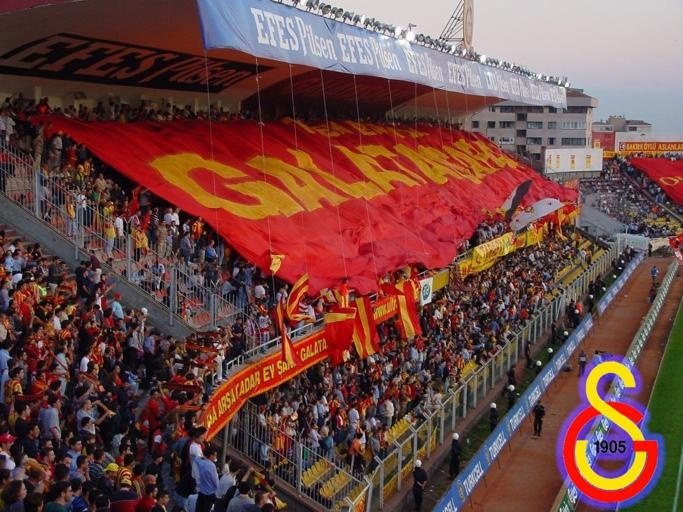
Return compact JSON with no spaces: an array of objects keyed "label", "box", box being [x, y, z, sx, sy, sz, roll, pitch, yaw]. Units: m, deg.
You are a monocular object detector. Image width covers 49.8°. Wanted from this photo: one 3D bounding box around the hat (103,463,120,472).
[{"label":"hat","box":[-4.108,3.815,13.231,0.295,0.144,0.417,4,0,-21]}]
